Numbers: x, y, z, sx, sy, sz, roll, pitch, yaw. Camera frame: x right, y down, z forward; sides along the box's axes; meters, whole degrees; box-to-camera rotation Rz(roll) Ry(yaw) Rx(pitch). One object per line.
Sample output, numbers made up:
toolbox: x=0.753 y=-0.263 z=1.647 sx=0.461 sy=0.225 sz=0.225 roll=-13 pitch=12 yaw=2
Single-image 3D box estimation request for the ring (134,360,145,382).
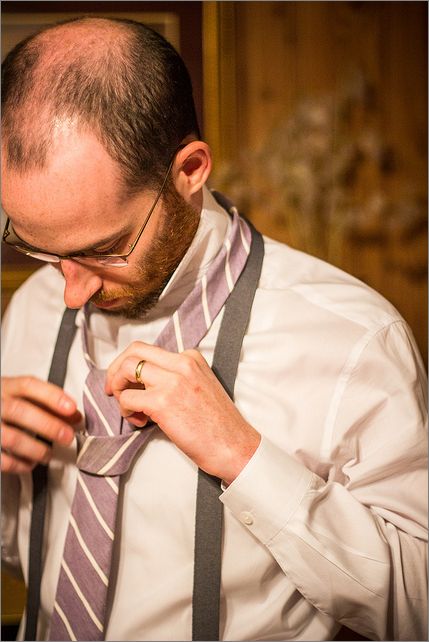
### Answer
ring: x=-0.101 y=0.066 z=0.835 sx=0.007 sy=0.025 sz=0.020 roll=18 pitch=71 yaw=9
